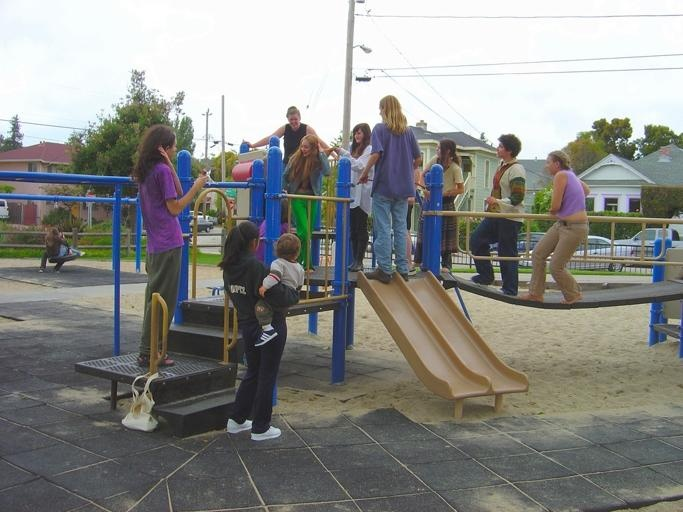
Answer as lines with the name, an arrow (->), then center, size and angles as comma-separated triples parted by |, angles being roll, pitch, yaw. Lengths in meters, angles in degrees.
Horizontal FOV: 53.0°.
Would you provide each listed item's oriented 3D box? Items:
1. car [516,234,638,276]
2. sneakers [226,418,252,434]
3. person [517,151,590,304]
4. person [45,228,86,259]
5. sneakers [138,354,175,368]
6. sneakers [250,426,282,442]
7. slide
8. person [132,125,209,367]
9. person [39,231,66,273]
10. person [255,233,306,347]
car -> 5.065, 0.019, 14.613 | 3.155, 1.138, 1.468 | 0, 1, -10
sneakers -> -0.915, 1.530, 6.202 | 0.266, 0.115, 0.100 | -3, 4, -28
person -> 2.546, -0.339, 8.065 | 0.638, 1.776, 0.577 | 6, 8, 21
person -> -6.910, -0.319, 17.156 | 0.866, 0.673, 0.605 | 1, 4, -36
sneakers -> -1.743, 0.993, 6.454 | 0.296, 0.081, 0.148 | -1, 3, 30
sneakers -> -0.662, 1.559, 6.078 | 0.251, 0.108, 0.097 | -5, 14, -25
slide -> 1.025, 0.857, 7.407 | 0.970, 0.766, 2.118 | -1, 26, -33
person -> -1.627, -0.117, 6.512 | 0.606, 2.256, 0.641 | -3, 10, -36
person -> -7.156, -0.180, 17.074 | 0.602, 1.034, 0.854 | 0, 8, -23
person -> -0.532, 0.296, 6.084 | 0.326, 0.974, 0.545 | 4, 8, 7
